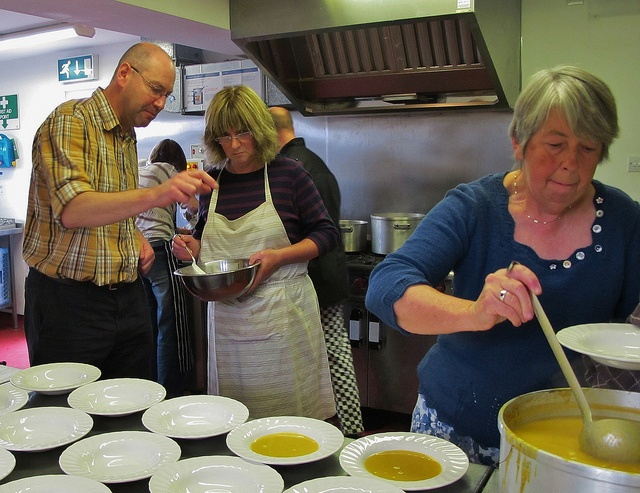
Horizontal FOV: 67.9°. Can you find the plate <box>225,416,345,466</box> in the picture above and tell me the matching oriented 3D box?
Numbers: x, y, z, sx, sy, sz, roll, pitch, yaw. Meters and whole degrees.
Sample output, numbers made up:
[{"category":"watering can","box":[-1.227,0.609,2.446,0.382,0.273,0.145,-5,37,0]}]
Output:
[{"category":"plate","box":[-0.080,0.420,1.041,0.247,0.024,0.197,-4,7,-15]}]

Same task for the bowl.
[{"category":"bowl","box":[-0.398,0.154,1.856,0.315,0.182,0.301,-2,7,0]}]

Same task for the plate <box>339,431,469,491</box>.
[{"category":"plate","box":[0.167,0.434,0.957,0.253,0.042,0.182,-1,7,5]}]

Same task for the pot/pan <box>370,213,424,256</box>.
[{"category":"pot/pan","box":[0.502,-0.103,3.102,0.325,0.228,0.343,0,4,4]}]

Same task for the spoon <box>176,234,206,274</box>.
[{"category":"spoon","box":[-0.568,0.024,2.078,0.045,0.220,0.038,-35,-38,6]}]

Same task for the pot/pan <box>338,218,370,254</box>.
[{"category":"pot/pan","box":[0.262,-0.073,3.290,0.229,0.164,0.235,0,4,19]}]

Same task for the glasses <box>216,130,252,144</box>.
[{"category":"glasses","box":[-0.381,-0.467,2.030,0.179,0.047,0.039,1,7,20]}]

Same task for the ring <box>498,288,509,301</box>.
[{"category":"ring","box":[0.341,0.089,0.878,0.014,0.017,0.017,13,12,41]}]
